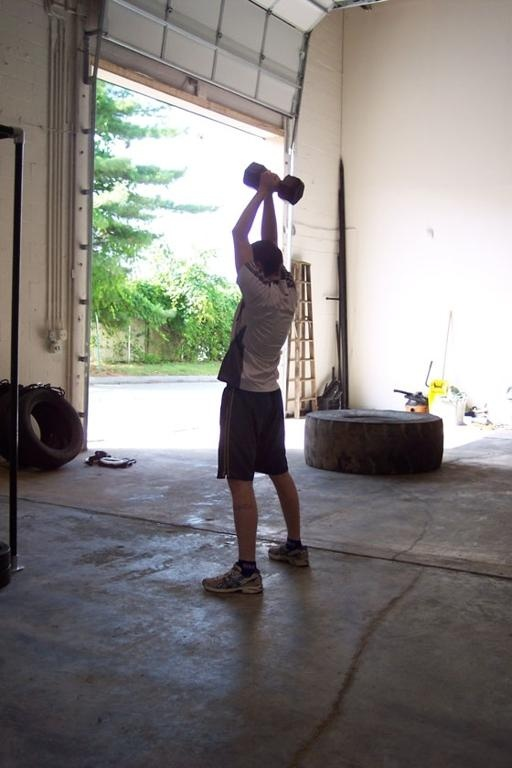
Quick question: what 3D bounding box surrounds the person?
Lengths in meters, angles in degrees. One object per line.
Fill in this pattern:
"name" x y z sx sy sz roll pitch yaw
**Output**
"person" 0.006 -0.057 2.466 0.301 1.752 0.528 2 1 24
